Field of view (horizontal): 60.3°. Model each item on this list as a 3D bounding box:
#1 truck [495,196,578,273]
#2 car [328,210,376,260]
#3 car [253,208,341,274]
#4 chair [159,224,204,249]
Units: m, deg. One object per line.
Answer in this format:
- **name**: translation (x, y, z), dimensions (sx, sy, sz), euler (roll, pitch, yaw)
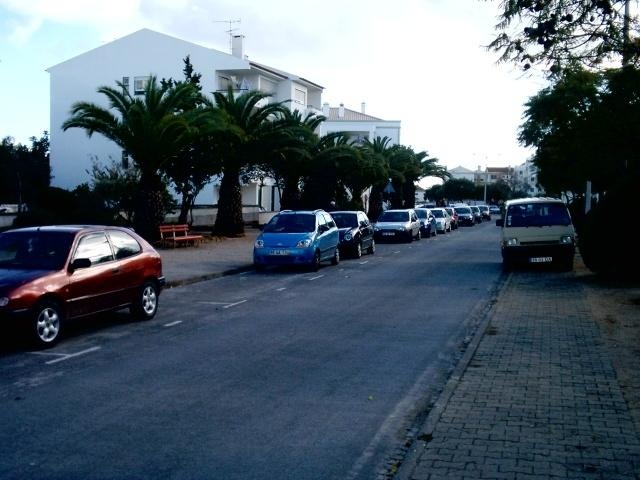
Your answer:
- **truck**: translation (7.133, -0.291, 18.718), dimensions (1.580, 1.624, 2.886), euler (-2, -1, 9)
- **car**: translation (1.391, -0.344, 24.057), dimensions (1.253, 1.269, 2.405), euler (-2, -3, 17)
- **car**: translation (-0.571, -0.042, 19.663), dimensions (1.608, 1.491, 2.944), euler (-1, -2, 16)
- **chair**: translation (-7.293, -0.163, 27.466), dimensions (1.031, 1.177, 2.547), euler (-17, -5, 16)
